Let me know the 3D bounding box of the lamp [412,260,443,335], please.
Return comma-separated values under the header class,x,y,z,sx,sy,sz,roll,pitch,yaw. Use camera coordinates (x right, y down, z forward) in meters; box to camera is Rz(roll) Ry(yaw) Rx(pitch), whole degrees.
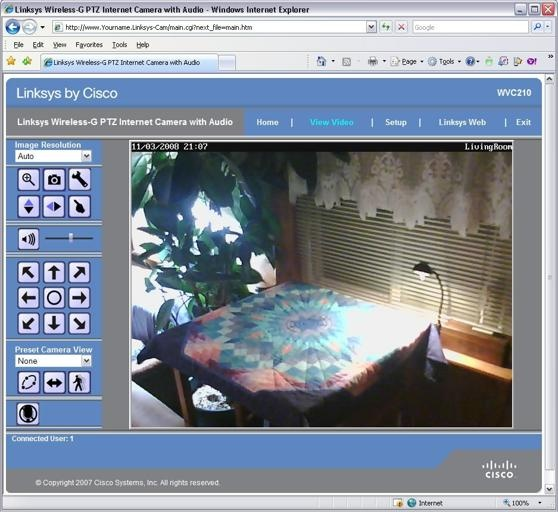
class,x,y,z,sx,sy,sz,roll,pitch,yaw
lamp,0.497,0.135,1.732,0.124,0.309,0.074,8,32,20
